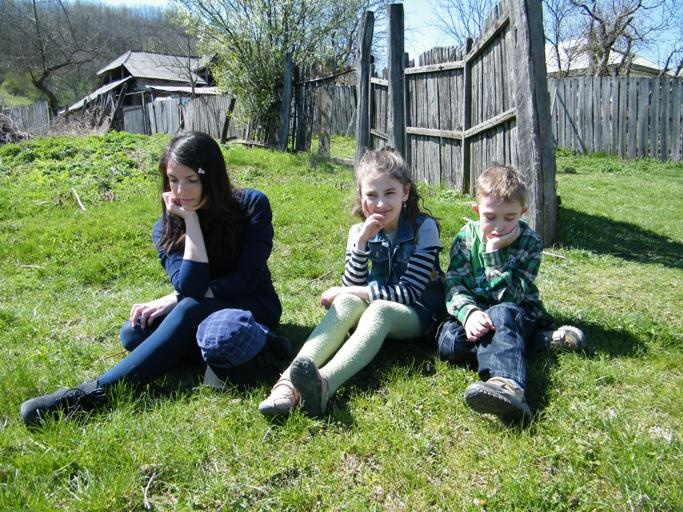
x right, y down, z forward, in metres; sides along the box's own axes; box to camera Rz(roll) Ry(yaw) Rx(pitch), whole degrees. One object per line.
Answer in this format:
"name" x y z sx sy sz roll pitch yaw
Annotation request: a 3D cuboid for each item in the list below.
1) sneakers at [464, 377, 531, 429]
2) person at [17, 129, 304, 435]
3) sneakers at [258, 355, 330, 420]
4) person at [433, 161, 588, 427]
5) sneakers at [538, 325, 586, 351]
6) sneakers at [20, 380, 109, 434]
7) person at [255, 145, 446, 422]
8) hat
"sneakers" 0.813 0.747 2.675 0.391 0.187 0.211 27 36 -20
"person" -1.088 0.060 3.311 0.732 1.542 1.747 10 21 29
"sneakers" -0.230 0.779 2.885 0.182 0.614 0.299 -4 55 13
"person" 0.958 0.143 3.079 0.804 1.251 1.033 6 15 26
"sneakers" 1.408 0.524 3.291 0.272 0.168 0.137 -8 -11 39
"sneakers" -1.552 0.806 2.850 0.333 0.156 0.222 -14 6 -24
"person" 0.137 0.084 3.243 0.682 1.564 1.821 2 7 27
"hat" -0.598 0.603 3.171 0.492 0.439 0.309 12 -21 14
